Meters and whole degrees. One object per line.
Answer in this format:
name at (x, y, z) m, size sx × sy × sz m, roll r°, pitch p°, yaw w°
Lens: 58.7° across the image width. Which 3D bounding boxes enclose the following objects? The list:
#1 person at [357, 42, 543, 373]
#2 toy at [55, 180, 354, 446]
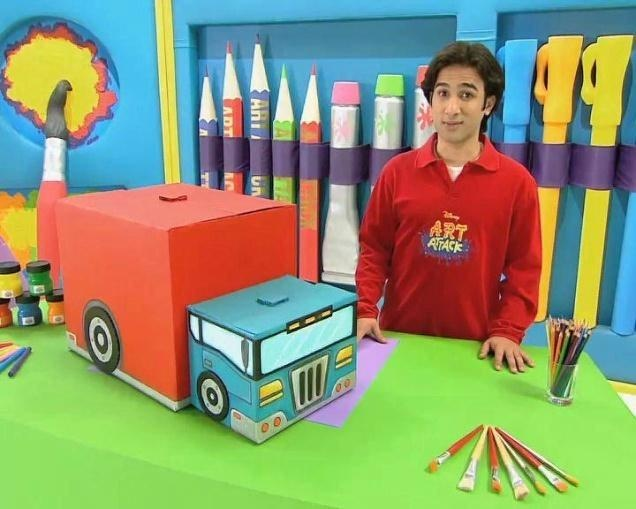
person at (0.300, -0.099, 1.319) m, size 0.388 × 0.771 × 0.341 m, roll 4°, pitch 25°, yaw 15°
toy at (-0.193, 0.041, 1.034) m, size 0.497 × 0.350 × 0.315 m, roll 15°, pitch 21°, yaw 36°
